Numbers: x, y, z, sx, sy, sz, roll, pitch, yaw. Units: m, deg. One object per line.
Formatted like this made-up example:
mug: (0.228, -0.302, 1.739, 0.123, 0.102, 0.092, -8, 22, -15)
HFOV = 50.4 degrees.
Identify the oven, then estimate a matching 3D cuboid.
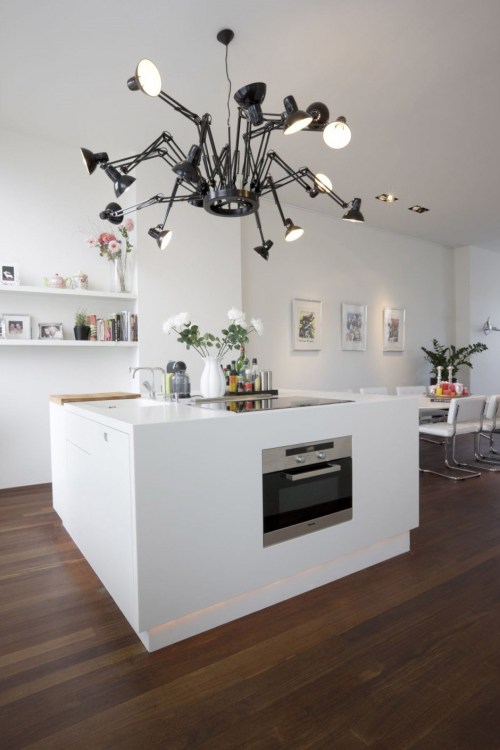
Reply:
oven: (0.212, 0.481, 2.428, 0.468, 0.425, 0.329, -6, 10, -23)

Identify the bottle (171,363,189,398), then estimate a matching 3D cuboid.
bottle: (-0.400, 0.019, 2.997, 0.108, 0.196, 0.229, -1, 4, -9)

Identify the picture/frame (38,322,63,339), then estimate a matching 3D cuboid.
picture/frame: (-1.661, -0.368, 4.387, 0.135, 0.123, 0.023, -1, -1, -28)

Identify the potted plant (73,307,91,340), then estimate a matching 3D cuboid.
potted plant: (-1.401, -0.412, 4.425, 0.135, 0.244, 0.283, -2, 4, -18)

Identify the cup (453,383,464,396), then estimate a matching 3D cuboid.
cup: (2.076, 0.139, 5.290, 0.095, 0.158, 0.098, 0, -4, 0)

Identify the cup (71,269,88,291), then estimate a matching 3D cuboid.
cup: (-1.429, -0.791, 4.461, 0.150, 0.181, 0.155, 0, -4, 0)

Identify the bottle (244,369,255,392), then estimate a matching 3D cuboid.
bottle: (-0.007, 0.037, 3.148, 0.061, 0.112, 0.189, -1, 4, 1)

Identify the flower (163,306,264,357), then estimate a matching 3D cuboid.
flower: (-0.219, -0.239, 3.153, 0.563, 0.338, 0.464, -3, 10, -14)

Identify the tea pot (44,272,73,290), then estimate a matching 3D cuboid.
tea pot: (-1.587, -0.773, 4.376, 0.158, 0.100, 0.189, -4, 16, -20)

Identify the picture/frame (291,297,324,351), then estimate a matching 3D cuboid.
picture/frame: (0.685, -0.608, 6.418, 0.430, 0.565, 0.023, -2, 5, -38)

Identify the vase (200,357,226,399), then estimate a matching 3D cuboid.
vase: (-0.201, 0.008, 2.917, 0.133, 0.217, 0.201, -1, 4, -3)

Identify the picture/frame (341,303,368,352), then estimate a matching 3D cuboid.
picture/frame: (1.379, -0.647, 7.028, 0.328, 0.463, 0.019, 3, 7, 21)

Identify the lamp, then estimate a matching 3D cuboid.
lamp: (-0.278, -1.624, 3.707, 1.414, 1.113, 1.370, 2, -7, -28)

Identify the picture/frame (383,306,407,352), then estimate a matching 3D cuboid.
picture/frame: (2.068, -0.678, 7.634, 0.601, 0.737, 0.046, -5, 6, -38)

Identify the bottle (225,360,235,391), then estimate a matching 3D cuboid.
bottle: (-0.114, 0.008, 3.109, 0.068, 0.161, 0.223, -1, 4, -3)

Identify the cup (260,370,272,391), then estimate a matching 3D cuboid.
cup: (0.091, 0.031, 3.156, 0.066, 0.109, 0.081, -1, 4, -6)
